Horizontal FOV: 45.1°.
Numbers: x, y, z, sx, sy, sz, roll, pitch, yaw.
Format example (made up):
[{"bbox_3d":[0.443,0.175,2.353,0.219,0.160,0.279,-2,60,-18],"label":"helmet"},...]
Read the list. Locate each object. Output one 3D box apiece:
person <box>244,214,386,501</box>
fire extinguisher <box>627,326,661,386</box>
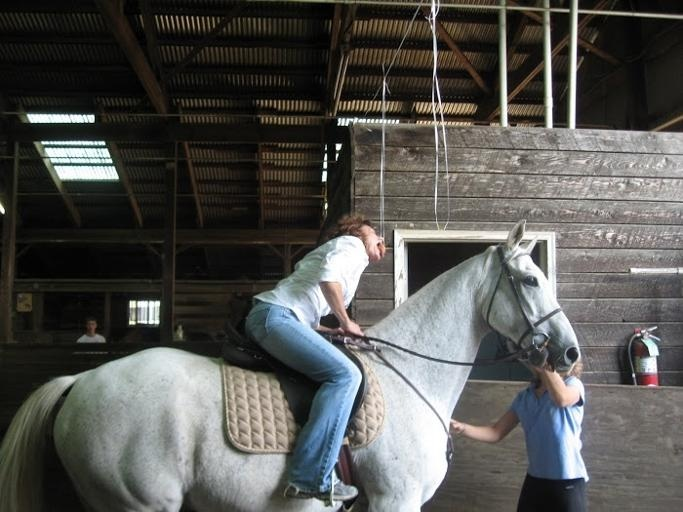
[{"bbox_3d":[-0.191,0.828,7.462,1.106,2.346,1.140,3,4,-26],"label":"person"},{"bbox_3d":[3.289,1.089,8.897,0.308,0.609,0.141,-4,-9,20],"label":"fire extinguisher"}]
